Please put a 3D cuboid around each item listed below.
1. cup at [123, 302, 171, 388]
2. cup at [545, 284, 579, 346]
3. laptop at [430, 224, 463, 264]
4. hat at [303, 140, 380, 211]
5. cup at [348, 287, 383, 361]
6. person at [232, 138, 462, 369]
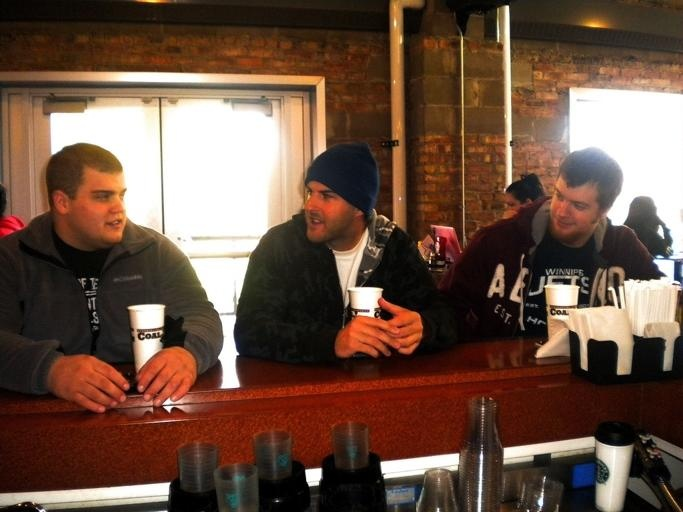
[{"bbox_3d":[-0.608,0.265,1.929,0.139,0.216,0.140,-5,-5,0],"label":"cup"},{"bbox_3d":[0.762,0.198,2.109,0.106,0.202,0.233,-1,2,20],"label":"cup"},{"bbox_3d":[0.739,-0.084,4.246,0.270,0.244,0.073,18,32,36],"label":"laptop"},{"bbox_3d":[0.012,-0.329,2.691,0.314,0.279,0.278,16,-4,-8],"label":"hat"},{"bbox_3d":[0.079,0.223,2.084,0.109,0.237,0.133,-1,2,1],"label":"cup"},{"bbox_3d":[0.016,0.031,2.407,0.910,0.817,0.819,-2,3,-8],"label":"person"}]
